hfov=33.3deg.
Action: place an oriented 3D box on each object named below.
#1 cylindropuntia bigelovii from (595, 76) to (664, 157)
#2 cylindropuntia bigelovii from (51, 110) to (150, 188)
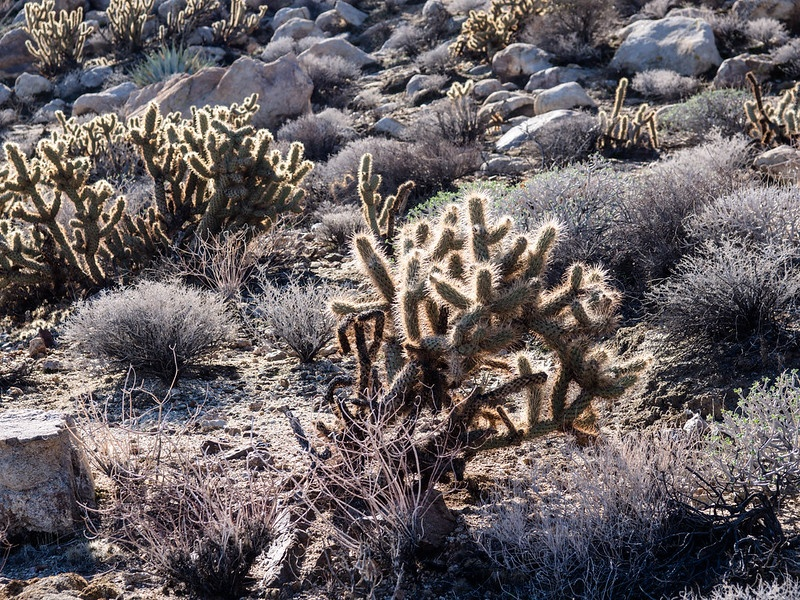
[{"bbox_3d":[3.311,-2.715,19.908,0.920,0.847,1.338,-3,28,10],"label":"cylindropuntia bigelovii"},{"bbox_3d":[-4.334,-2.147,19.499,1.046,1.358,1.152,-17,43,-15],"label":"cylindropuntia bigelovii"}]
